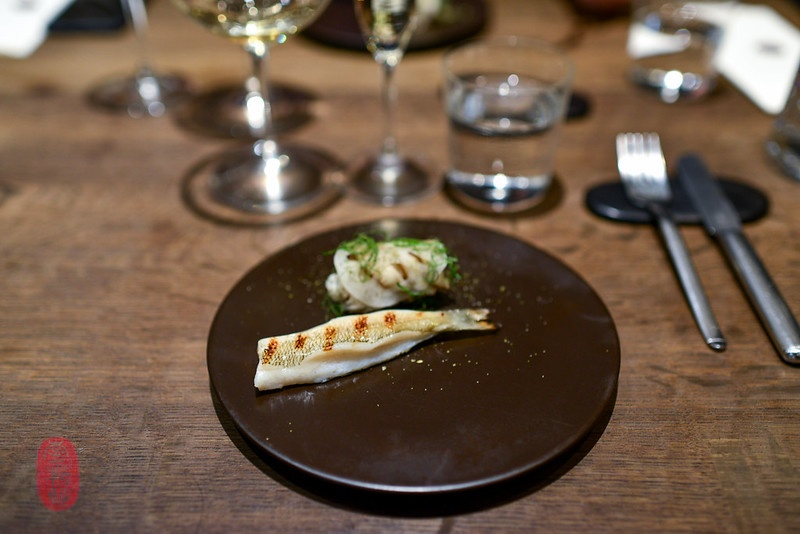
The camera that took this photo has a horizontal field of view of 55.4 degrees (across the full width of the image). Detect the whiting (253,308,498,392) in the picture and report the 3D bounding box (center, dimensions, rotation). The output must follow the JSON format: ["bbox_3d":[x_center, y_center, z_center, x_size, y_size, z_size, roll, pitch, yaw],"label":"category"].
[{"bbox_3d":[-0.043,0.117,1.189,0.384,0.069,0.092,-12,33,-18],"label":"whiting"}]
